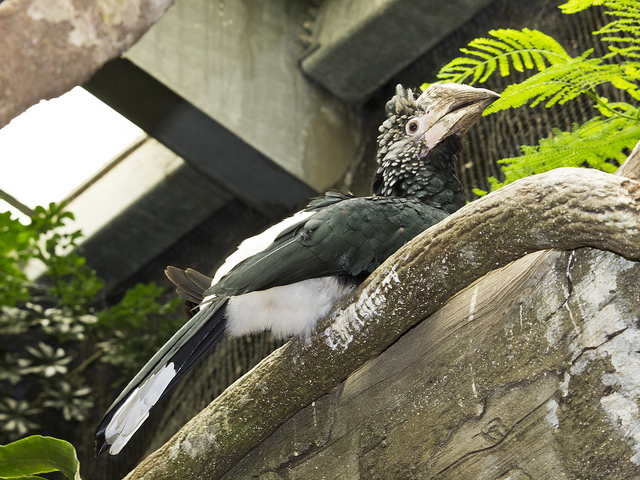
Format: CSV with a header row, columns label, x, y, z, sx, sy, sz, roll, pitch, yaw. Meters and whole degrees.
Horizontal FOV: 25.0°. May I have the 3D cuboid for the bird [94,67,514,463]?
label,x,y,z,sx,sy,sz,roll,pitch,yaw
bird,0.004,0.062,5.384,1.442,1.471,0.751,0,-5,12
